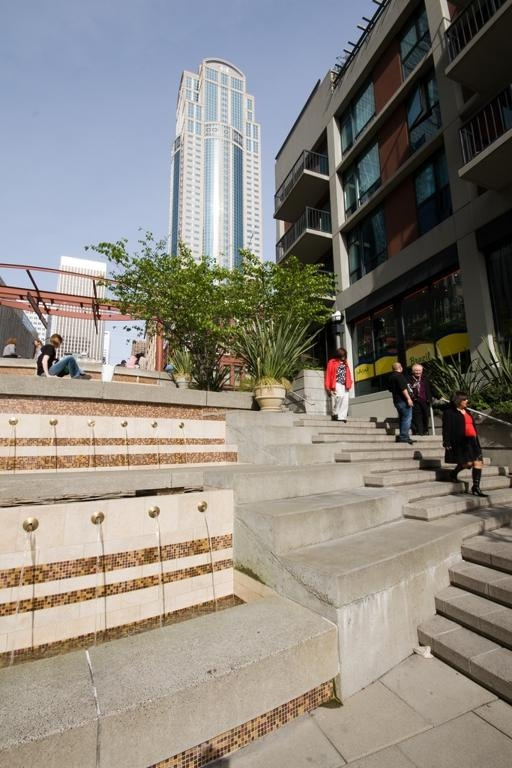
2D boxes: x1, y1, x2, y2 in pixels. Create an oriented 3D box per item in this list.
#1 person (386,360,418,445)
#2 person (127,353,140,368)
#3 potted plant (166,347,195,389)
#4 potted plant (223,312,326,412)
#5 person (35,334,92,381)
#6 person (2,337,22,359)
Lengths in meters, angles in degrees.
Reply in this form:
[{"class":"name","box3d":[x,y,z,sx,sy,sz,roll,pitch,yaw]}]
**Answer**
[{"class":"person","box3d":[2.594,0.301,8.694,0.570,1.288,1.357,11,5,16]},{"class":"person","box3d":[-4.475,-0.898,17.680,0.423,0.557,1.575,9,7,-16]},{"class":"potted plant","box3d":[-2.171,-0.496,14.243,0.743,1.297,0.855,-2,-43,-16]},{"class":"potted plant","box3d":[0.282,-0.430,9.293,1.429,2.251,1.402,3,6,32]},{"class":"person","box3d":[-3.440,-0.467,8.728,0.711,0.703,1.414,8,7,-29]},{"class":"person","box3d":[-7.713,-1.212,15.379,0.327,0.709,2.999,7,8,-26]}]
